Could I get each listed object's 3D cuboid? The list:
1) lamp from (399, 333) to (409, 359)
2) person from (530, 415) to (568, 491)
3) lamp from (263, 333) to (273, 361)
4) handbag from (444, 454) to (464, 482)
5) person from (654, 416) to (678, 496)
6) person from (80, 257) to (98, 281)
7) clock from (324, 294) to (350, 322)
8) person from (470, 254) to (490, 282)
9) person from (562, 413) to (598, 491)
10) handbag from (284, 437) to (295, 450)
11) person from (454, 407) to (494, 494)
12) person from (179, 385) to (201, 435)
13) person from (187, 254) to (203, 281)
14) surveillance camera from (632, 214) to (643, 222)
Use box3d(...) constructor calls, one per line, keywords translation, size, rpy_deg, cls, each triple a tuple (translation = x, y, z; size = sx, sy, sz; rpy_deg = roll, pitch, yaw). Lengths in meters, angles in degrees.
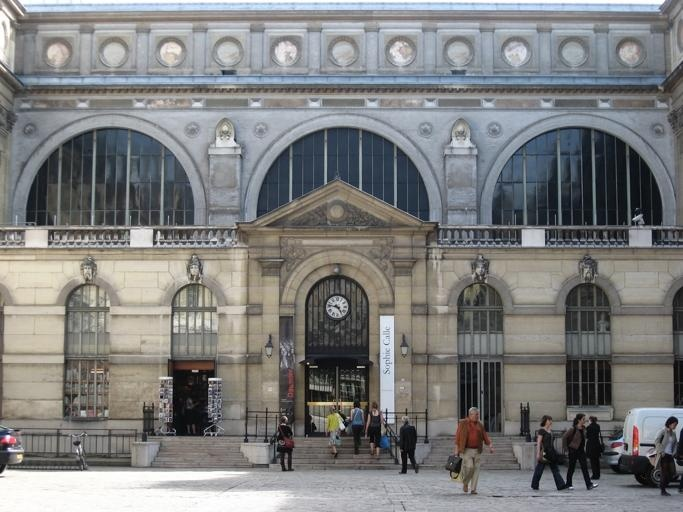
box3d(translation=(2.788, 4.016, 69.448), size=(0.398, 1.063, 0.211), rpy_deg=(-1, -11, 2), cls="lamp")
box3d(translation=(7.558, 7.235, 56.978), size=(1.093, 2.748, 1.336), rpy_deg=(-1, -6, 16), cls="person")
box3d(translation=(-3.315, 4.040, 69.584), size=(0.391, 1.088, 0.248), rpy_deg=(0, -11, -4), cls="lamp")
box3d(translation=(4.102, 7.704, 56.363), size=(0.616, 0.887, 0.753), rpy_deg=(-2, -10, 4), cls="handbag")
box3d(translation=(12.024, 7.355, 57.035), size=(0.740, 2.591, 1.016), rpy_deg=(-2, -8, 9), cls="person")
box3d(translation=(-11.548, 0.573, 70.050), size=(0.753, 1.206, 0.466), rpy_deg=(1, -11, -11), cls="person")
box3d(translation=(-0.289, 2.402, 70.304), size=(1.012, 0.930, 0.146), rpy_deg=(33, 4, 1), cls="clock")
box3d(translation=(6.276, 0.525, 70.033), size=(0.829, 1.271, 0.407), rpy_deg=(-1, -11, 2), cls="person")
box3d(translation=(9.149, 7.373, 58.301), size=(1.557, 2.900, 1.024), rpy_deg=(-3, -9, 34), cls="person")
box3d(translation=(-2.211, 7.781, 64.094), size=(0.242, 0.470, 0.639), rpy_deg=(-5, -11, 20), cls="handbag")
box3d(translation=(4.786, 7.111, 56.801), size=(1.518, 3.044, 1.056), rpy_deg=(1, -10, 6), cls="person")
box3d(translation=(-6.942, 6.997, 70.614), size=(0.821, 2.206, 0.490), rpy_deg=(0, -11, -6), cls="person")
box3d(translation=(-6.722, 0.533, 70.171), size=(0.706, 1.267, 0.358), rpy_deg=(-1, -11, -1), cls="person")
box3d(translation=(14.122, -1.776, 73.493), size=(0.589, 0.223, 0.601), rpy_deg=(0, 0, 18), cls="surveillance camera")
